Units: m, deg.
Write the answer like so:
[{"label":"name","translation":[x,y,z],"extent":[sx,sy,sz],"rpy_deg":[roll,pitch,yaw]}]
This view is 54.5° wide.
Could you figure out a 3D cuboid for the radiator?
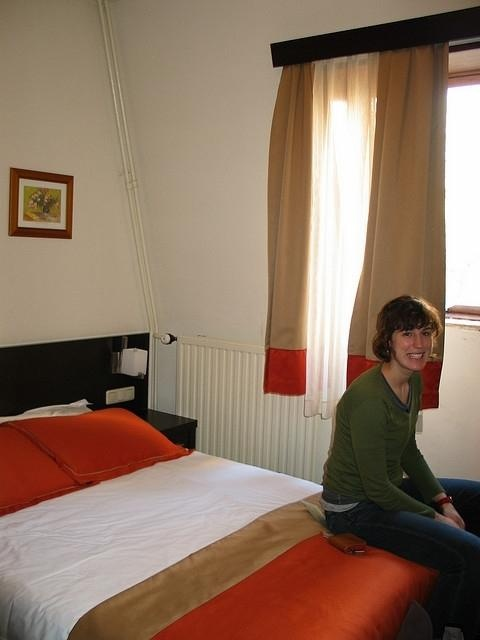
[{"label":"radiator","translation":[0.062,0.528,2.735],"extent":[0.698,0.587,0.037],"rpy_deg":[11,12,37]}]

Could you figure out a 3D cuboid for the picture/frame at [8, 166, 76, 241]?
[{"label":"picture/frame","translation":[-1.112,-0.650,2.582],"extent":[0.044,0.479,0.450],"rpy_deg":[2,1,39]}]
